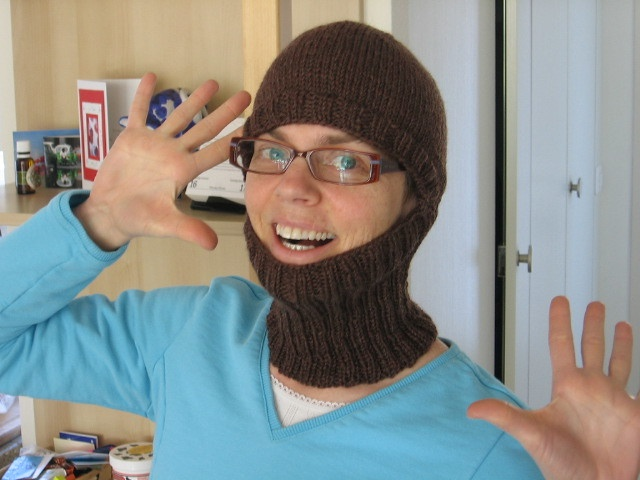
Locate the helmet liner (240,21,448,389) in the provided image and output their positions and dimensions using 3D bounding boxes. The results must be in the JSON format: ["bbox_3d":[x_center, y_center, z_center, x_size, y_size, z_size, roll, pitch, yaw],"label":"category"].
[{"bbox_3d":[0.050,-0.094,1.599,0.507,0.862,0.268,2,10,12],"label":"helmet liner"}]

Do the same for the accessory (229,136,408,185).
[{"bbox_3d":[0.007,-0.242,1.611,0.382,0.134,0.275,7,17,23],"label":"accessory"}]

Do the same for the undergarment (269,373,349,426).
[{"bbox_3d":[-0.046,0.392,1.550,0.197,0.085,0.079,5,11,23],"label":"undergarment"}]

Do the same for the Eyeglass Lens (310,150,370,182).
[{"bbox_3d":[0.041,-0.174,1.528,0.152,0.076,0.032,0,10,-2],"label":"Eyeglass Lens"}]
